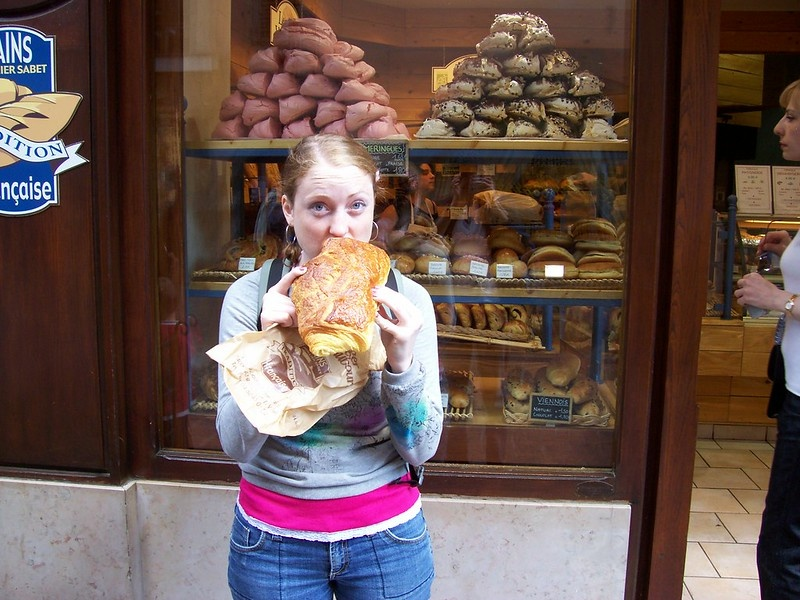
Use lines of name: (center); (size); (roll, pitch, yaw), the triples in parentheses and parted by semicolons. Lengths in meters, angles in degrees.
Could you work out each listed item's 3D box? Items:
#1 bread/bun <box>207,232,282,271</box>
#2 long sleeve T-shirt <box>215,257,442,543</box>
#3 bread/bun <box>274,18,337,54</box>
bread/bun: (-0.743, -0.233, 3.346); (0.219, 0.091, 0.243); (-5, 10, 0)
long sleeve T-shirt: (-0.250, 0.296, 2.260); (0.762, 0.813, 0.521); (2, 2, -16)
bread/bun: (-0.454, -1.283, 3.359); (0.240, 0.209, 0.082); (13, -14, -4)
